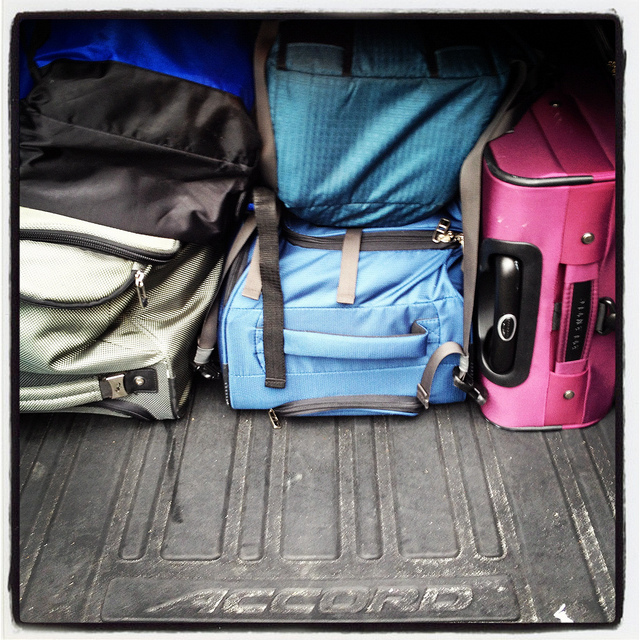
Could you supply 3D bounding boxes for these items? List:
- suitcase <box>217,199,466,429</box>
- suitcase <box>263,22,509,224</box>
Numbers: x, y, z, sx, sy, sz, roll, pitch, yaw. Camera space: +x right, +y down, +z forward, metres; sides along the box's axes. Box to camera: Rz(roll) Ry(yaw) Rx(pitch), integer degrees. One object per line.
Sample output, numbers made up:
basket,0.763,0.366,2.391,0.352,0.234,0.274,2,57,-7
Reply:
suitcase,0.090,-0.003,1.315,0.537,0.294,0.480,2,15,-13
suitcase,0.090,-0.390,1.146,0.424,0.352,0.212,-3,50,-11
